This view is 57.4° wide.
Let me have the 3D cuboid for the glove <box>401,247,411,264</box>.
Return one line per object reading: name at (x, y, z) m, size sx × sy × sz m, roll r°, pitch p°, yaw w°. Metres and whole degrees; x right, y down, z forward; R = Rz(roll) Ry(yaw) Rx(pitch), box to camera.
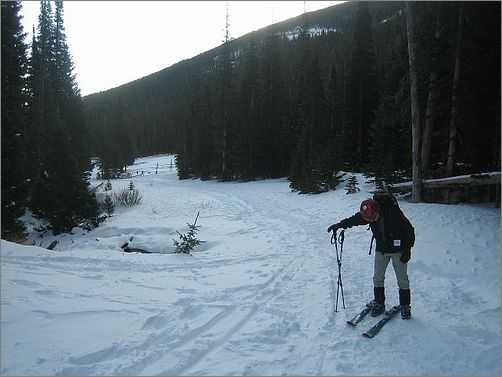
glove at (5.319, 2.282, 15.782) m, size 0.133 × 0.493 × 0.331 m, roll 15°, pitch -5°, yaw 17°
